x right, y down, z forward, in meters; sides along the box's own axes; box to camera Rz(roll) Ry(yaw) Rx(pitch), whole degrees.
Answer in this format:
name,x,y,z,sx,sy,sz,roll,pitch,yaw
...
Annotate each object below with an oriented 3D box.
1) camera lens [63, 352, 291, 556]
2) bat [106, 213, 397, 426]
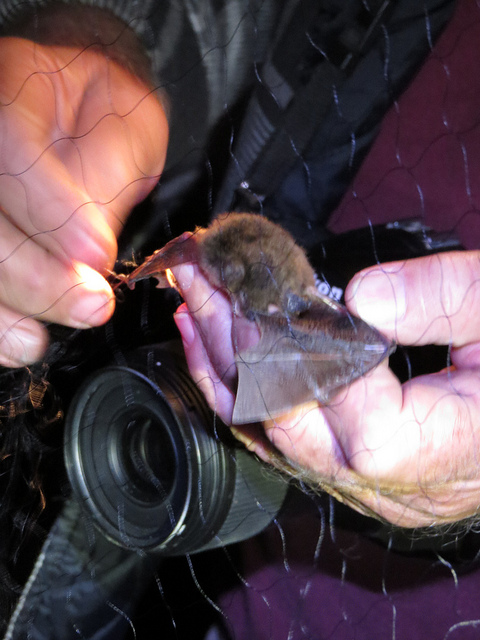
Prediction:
name,x,y,z,sx,sy,sz,roll,pitch,yaw
camera lens,-0.049,0.109,0.534,0.213,0.113,0.149,-15,29,-33
bat,-0.005,-0.011,0.464,0.109,0.197,0.133,-42,-6,-7
